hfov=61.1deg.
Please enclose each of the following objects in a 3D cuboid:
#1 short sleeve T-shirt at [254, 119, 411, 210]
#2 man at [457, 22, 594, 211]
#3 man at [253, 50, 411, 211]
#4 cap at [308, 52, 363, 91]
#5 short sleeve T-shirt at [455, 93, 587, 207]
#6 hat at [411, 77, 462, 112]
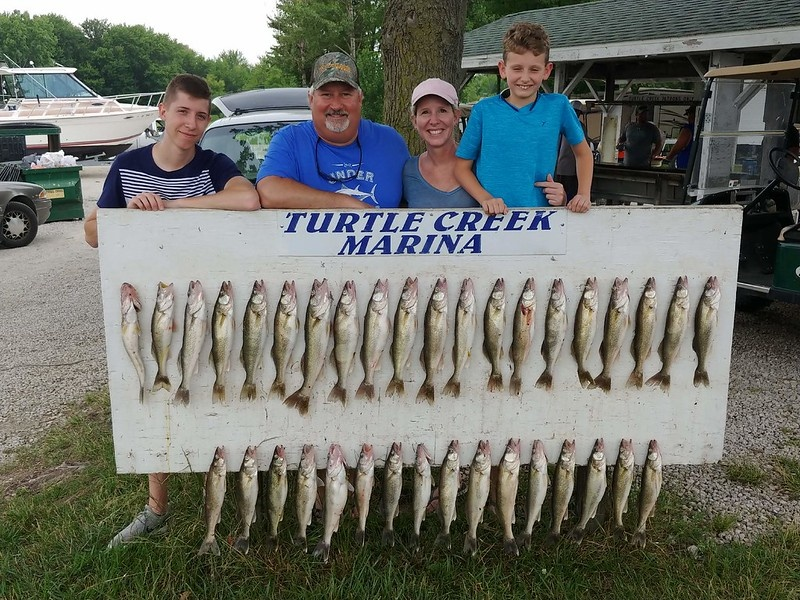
[{"bbox_3d":[-0.333,-0.834,4.066,1.014,0.552,0.358,2,-15,-15],"label":"short sleeve T-shirt"},{"bbox_3d":[0.774,-1.065,4.175,0.837,1.164,0.683,1,27,7],"label":"man"},{"bbox_3d":[-0.377,-0.954,4.100,1.181,0.988,0.574,-19,29,-38],"label":"man"},{"bbox_3d":[-0.374,-1.361,3.987,0.274,0.208,0.406,-2,18,-9],"label":"cap"},{"bbox_3d":[0.765,-0.976,4.316,0.803,0.734,0.299,1,33,4],"label":"short sleeve T-shirt"},{"bbox_3d":[0.219,-1.236,4.038,0.168,0.123,0.237,-6,0,12],"label":"hat"}]
